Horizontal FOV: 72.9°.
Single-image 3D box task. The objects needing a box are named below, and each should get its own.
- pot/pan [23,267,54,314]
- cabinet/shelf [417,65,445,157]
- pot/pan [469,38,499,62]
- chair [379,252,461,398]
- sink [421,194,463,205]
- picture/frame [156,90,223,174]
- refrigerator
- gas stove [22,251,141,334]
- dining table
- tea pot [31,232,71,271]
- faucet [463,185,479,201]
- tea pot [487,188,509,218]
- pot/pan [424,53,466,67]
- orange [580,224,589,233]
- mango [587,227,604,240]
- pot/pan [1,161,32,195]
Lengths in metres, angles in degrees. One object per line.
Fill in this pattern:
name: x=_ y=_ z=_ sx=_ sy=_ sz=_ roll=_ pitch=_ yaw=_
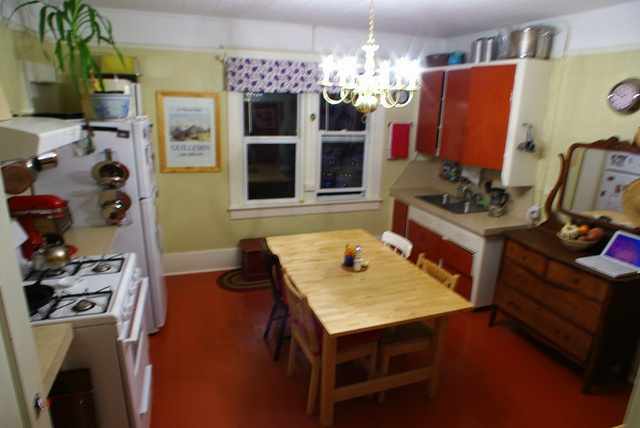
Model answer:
pot/pan: x=-1.934 y=0.570 z=2.988 sx=0.162 sy=0.110 sz=0.311 roll=-12 pitch=20 yaw=-34
cabinet/shelf: x=1.405 y=-1.312 z=5.500 sx=0.154 sy=0.867 sz=0.442 roll=0 pitch=15 yaw=-9
pot/pan: x=1.815 y=-1.801 z=4.788 sx=0.309 sy=0.270 sz=0.156 roll=10 pitch=20 yaw=31
chair: x=0.764 y=1.057 z=4.078 sx=0.732 sy=1.195 sz=0.678 roll=-4 pitch=16 yaw=-19
sink: x=1.566 y=-0.173 z=5.660 sx=0.537 sy=0.101 sz=0.308 roll=-3 pitch=16 yaw=-8
picture/frame: x=-1.551 y=-0.957 z=5.120 sx=0.725 sy=0.934 sz=0.042 roll=-7 pitch=25 yaw=-30
refrigerator: x=-2.032 y=0.052 z=4.385 sx=0.937 sy=2.000 sz=0.958 roll=-2 pitch=17 yaw=-13
gas stove: x=-1.644 y=0.534 z=3.155 sx=0.640 sy=0.453 sz=0.718 roll=2 pitch=12 yaw=-13
dining table: x=0.347 y=0.583 z=3.893 sx=1.140 sy=0.942 sz=1.622 roll=-4 pitch=17 yaw=-19
tea pot: x=-2.062 y=0.300 z=3.351 sx=0.234 sy=0.271 sz=0.295 roll=4 pitch=15 yaw=-11
faucet: x=1.904 y=-0.265 z=5.449 sx=0.172 sy=0.077 sz=0.169 roll=-4 pitch=14 yaw=-17
tea pot: x=2.057 y=-0.141 z=5.005 sx=0.230 sy=0.311 sz=0.270 roll=10 pitch=20 yaw=30
pot/pan: x=1.525 y=-1.898 z=5.359 sx=0.523 sy=0.166 sz=0.404 roll=7 pitch=18 yaw=23
orange: x=2.505 y=0.136 z=4.093 sx=0.074 sy=0.077 sz=0.076 roll=17 pitch=51 yaw=46
mango: x=2.593 y=0.185 z=4.055 sx=0.137 sy=0.081 sz=0.101 roll=-19 pitch=30 yaw=-38
pot/pan: x=-2.297 y=-0.276 z=3.263 sx=0.121 sy=0.253 sz=0.301 roll=-2 pitch=17 yaw=-4
